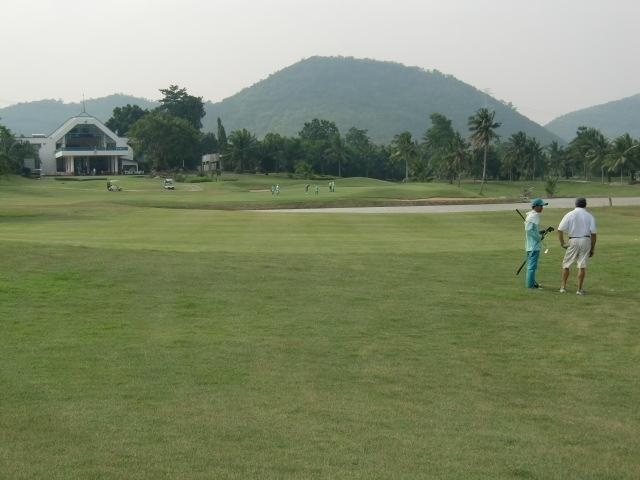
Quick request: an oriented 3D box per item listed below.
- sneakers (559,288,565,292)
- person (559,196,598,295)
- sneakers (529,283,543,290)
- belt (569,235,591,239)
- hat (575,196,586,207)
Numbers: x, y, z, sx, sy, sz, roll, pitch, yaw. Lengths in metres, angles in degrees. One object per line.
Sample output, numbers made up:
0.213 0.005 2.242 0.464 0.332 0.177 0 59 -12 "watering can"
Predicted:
6.725 1.409 28.016 0.110 0.138 0.304 2 -1 7 "sneakers"
7.089 0.158 27.880 0.960 2.649 1.066 3 6 13 "person"
6.052 1.317 28.471 0.190 0.111 0.256 9 -3 -32 "sneakers"
7.057 -0.063 27.449 0.512 0.130 0.056 4 6 19 "belt"
7.117 -0.995 27.485 0.267 0.315 0.316 3 19 11 "hat"
